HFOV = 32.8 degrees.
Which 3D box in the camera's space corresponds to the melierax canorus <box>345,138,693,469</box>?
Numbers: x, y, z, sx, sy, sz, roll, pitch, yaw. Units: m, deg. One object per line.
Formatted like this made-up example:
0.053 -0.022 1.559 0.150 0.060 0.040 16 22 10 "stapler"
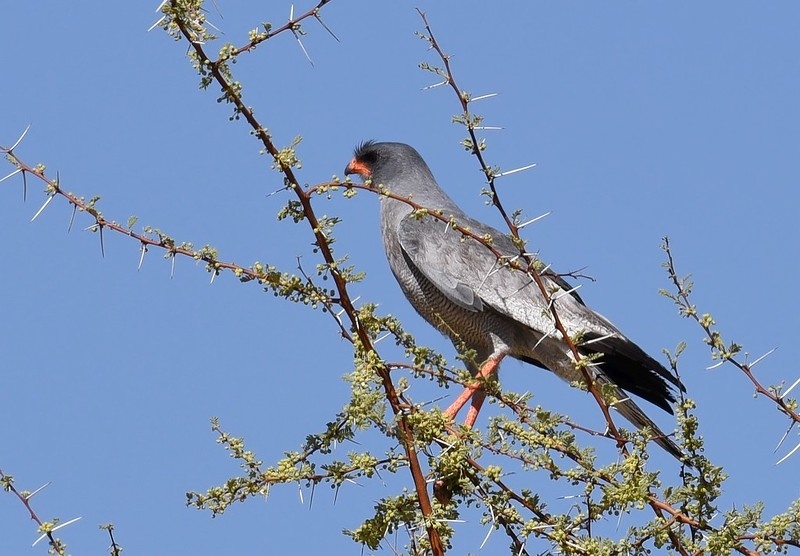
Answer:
0.635 0.069 8.994 1.731 3.307 0.874 21 -63 -18 "melierax canorus"
